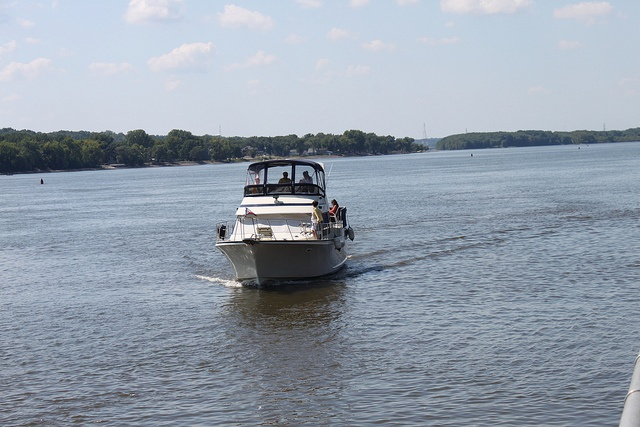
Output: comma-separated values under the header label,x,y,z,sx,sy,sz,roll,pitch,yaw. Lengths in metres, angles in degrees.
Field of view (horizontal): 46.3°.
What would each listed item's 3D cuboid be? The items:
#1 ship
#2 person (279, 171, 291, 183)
label,x,y,z,sx,sy,sz,roll,pitch,yaw
ship,-1.721,0.252,34.024,4.794,5.405,5.913,0,6,15
person,-1.692,-1.760,35.504,0.671,0.716,0.452,4,9,-1
